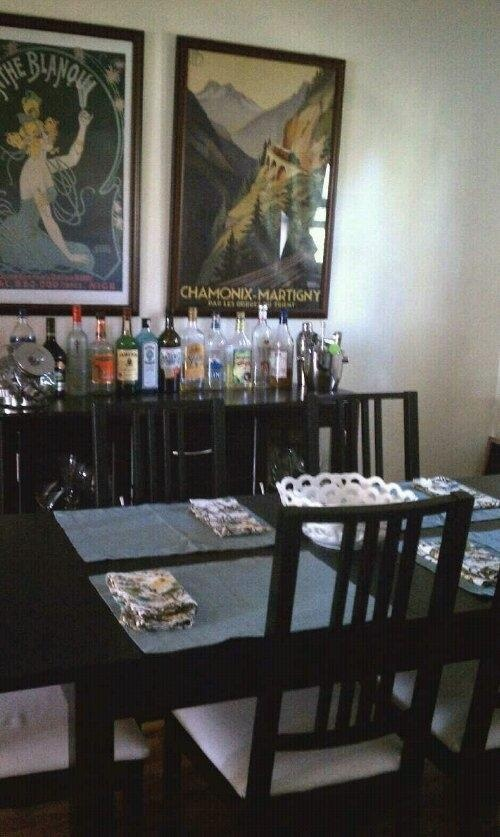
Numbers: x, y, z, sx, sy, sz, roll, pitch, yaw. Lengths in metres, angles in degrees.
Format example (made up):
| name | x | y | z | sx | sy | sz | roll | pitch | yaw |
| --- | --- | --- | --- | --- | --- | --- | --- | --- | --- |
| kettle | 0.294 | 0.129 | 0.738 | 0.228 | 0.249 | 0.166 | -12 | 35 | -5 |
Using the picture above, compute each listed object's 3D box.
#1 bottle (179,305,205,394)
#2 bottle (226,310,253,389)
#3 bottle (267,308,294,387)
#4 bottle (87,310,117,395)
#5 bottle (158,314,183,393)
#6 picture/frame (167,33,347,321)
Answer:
| name | x | y | z | sx | sy | sz | roll | pitch | yaw |
| --- | --- | --- | --- | --- | --- | --- | --- | --- | --- |
| bottle | -0.226 | -0.284 | 2.554 | 0.104 | 0.331 | 0.122 | 15 | 29 | 22 |
| bottle | -0.046 | -0.292 | 2.700 | 0.098 | 0.291 | 0.229 | 1 | 12 | -2 |
| bottle | 0.130 | -0.296 | 2.742 | 0.104 | 0.296 | 0.305 | 1 | 12 | 3 |
| bottle | -0.537 | -0.242 | 2.382 | 0.091 | 0.280 | 0.174 | -2 | 12 | -14 |
| bottle | -0.305 | -0.257 | 2.505 | 0.087 | 0.284 | 0.189 | -1 | 11 | -8 |
| picture/frame | 0.021 | -0.992 | 2.760 | 0.658 | 1.303 | 0.065 | 4 | -19 | 4 |
